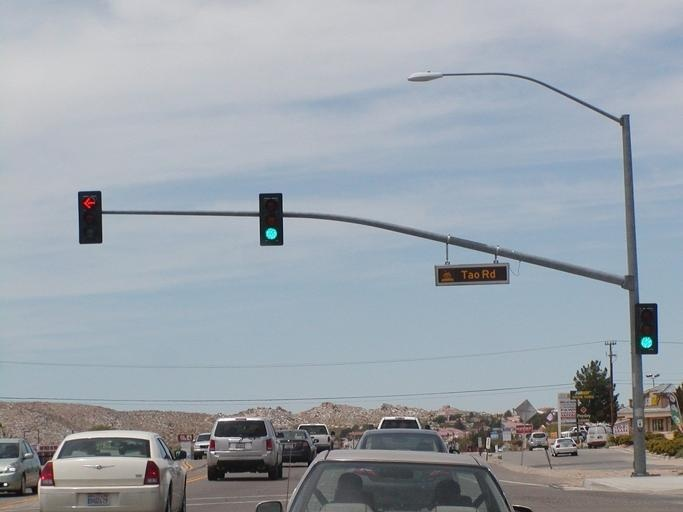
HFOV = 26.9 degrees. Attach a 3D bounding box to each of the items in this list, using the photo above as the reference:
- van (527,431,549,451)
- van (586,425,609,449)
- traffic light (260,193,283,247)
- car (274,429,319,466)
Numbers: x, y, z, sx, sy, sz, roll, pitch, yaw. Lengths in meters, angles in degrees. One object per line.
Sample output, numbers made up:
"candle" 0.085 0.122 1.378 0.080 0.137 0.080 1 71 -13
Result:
"van" 15.259 13.940 110.278 1.338 1.373 2.621 0 0 5
"van" 19.914 13.776 110.971 1.113 1.130 2.158 0 1 11
"traffic light" -2.572 -1.414 53.045 0.873 2.001 0.731 -2 -10 -4
"car" -2.055 8.958 66.823 1.473 1.351 3.728 0 -3 4
